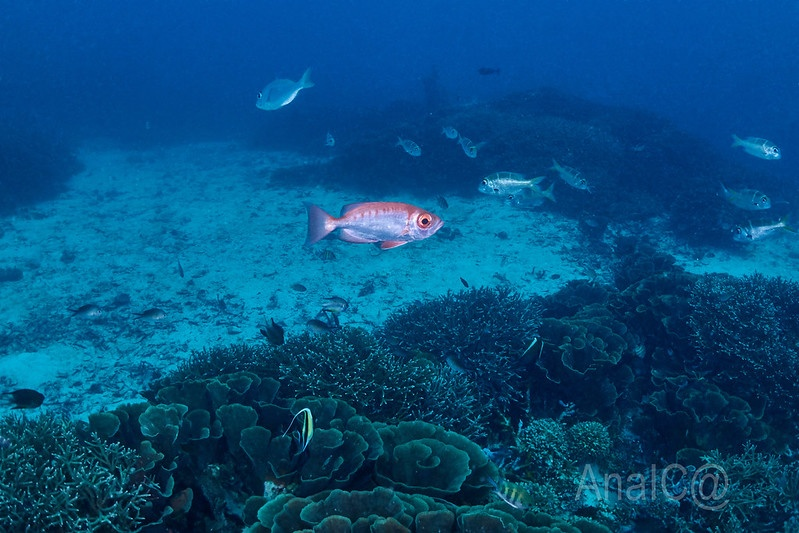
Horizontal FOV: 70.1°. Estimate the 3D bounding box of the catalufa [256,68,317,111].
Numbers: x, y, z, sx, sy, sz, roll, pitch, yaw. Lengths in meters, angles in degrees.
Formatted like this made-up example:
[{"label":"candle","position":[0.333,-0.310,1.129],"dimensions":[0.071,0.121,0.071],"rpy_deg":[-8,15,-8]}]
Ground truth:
[{"label":"catalufa","position":[-2.848,-4.269,14.013],"dimensions":[1.638,0.837,0.469],"rpy_deg":[-16,-16,22]}]
